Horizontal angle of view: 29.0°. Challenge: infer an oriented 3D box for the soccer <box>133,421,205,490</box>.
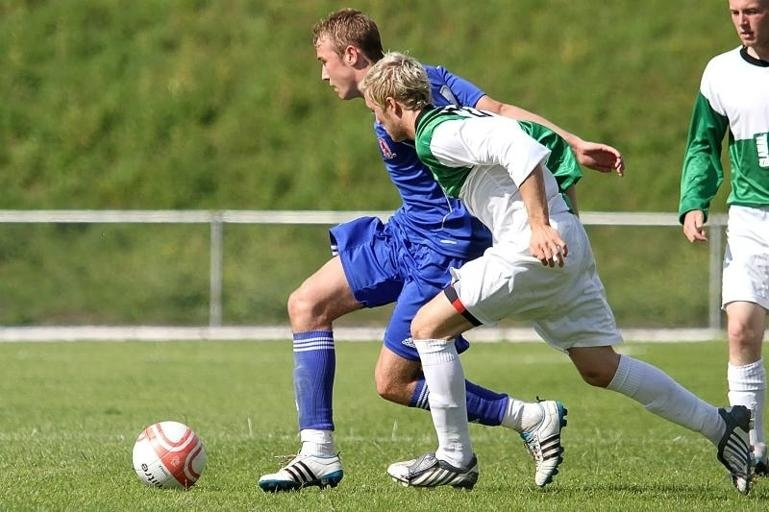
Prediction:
[{"bbox_3d":[-2.198,2.055,15.199,0.616,0.658,0.651,-25,-41,33],"label":"soccer"}]
